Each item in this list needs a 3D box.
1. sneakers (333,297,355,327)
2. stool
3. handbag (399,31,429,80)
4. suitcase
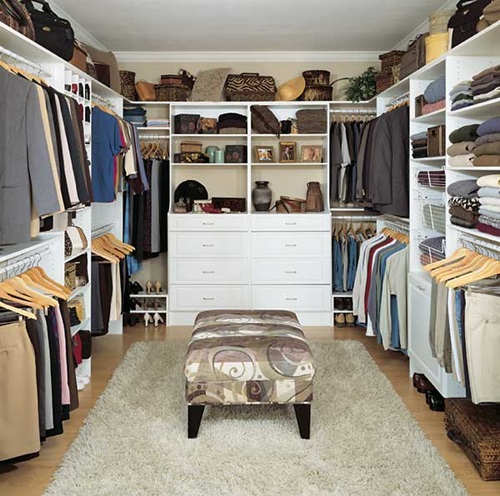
[{"bbox_3d":[0.970,0.654,4.430,0.164,0.123,0.309,-1,0,-2],"label":"sneakers"},{"bbox_3d":[-0.015,0.543,2.388,0.482,0.398,0.786,0,5,0],"label":"stool"},{"bbox_3d":[1.246,-1.454,3.273,0.127,0.317,0.648,1,5,10],"label":"handbag"},{"bbox_3d":[1.049,0.901,2.046,0.217,0.127,0.258,-2,5,1],"label":"suitcase"}]
